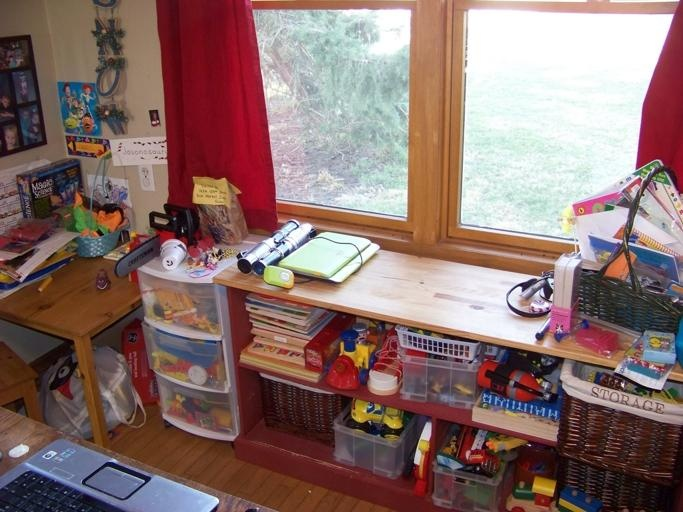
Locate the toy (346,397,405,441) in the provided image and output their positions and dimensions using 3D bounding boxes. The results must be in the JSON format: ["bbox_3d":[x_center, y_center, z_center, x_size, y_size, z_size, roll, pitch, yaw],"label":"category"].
[{"bbox_3d":[0.154,0.688,2.222,0.192,0.058,0.141,9,19,22],"label":"toy"}]

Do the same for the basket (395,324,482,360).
[{"bbox_3d":[0.368,0.336,1.995,0.221,0.072,0.155,10,15,23],"label":"basket"}]

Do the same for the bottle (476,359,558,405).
[{"bbox_3d":[0.642,0.427,1.922,0.245,0.105,0.120,16,42,30],"label":"bottle"}]

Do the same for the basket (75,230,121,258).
[{"bbox_3d":[-1.305,-0.065,2.824,0.158,0.073,0.154,3,14,12],"label":"basket"}]

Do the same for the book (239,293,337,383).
[{"bbox_3d":[-0.231,0.303,2.354,0.381,0.267,0.379,11,21,17],"label":"book"}]

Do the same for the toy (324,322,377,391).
[{"bbox_3d":[0.053,0.409,2.259,0.159,0.153,0.292,6,25,18],"label":"toy"}]

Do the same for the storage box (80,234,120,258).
[{"bbox_3d":[-1.305,-0.058,2.814,0.145,0.065,0.144,-1,13,-8],"label":"storage box"}]

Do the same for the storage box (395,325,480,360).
[{"bbox_3d":[0.365,0.335,1.996,0.221,0.071,0.153,11,15,22],"label":"storage box"}]

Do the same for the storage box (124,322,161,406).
[{"bbox_3d":[-1.103,0.583,2.878,0.299,0.404,0.105,-10,-8,-8],"label":"storage box"}]

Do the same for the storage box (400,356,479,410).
[{"bbox_3d":[0.386,0.488,2.028,0.227,0.139,0.228,7,15,24],"label":"storage box"}]

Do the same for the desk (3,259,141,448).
[{"bbox_3d":[-1.256,0.447,2.473,0.660,0.616,0.493,15,33,27],"label":"desk"}]

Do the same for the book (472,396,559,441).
[{"bbox_3d":[0.642,0.595,1.931,0.194,0.044,0.174,11,20,30],"label":"book"}]

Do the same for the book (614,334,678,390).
[{"bbox_3d":[0.957,0.282,1.612,0.135,0.059,0.205,16,49,35],"label":"book"}]

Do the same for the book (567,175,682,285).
[{"bbox_3d":[0.963,-0.118,1.763,0.353,0.337,0.209,9,29,22],"label":"book"}]

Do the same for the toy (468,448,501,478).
[{"bbox_3d":[0.557,0.795,2.037,0.100,0.037,0.101,17,43,24],"label":"toy"}]
